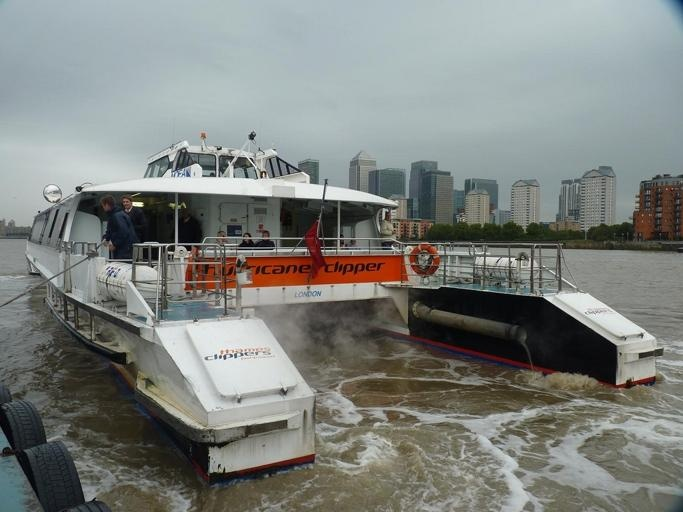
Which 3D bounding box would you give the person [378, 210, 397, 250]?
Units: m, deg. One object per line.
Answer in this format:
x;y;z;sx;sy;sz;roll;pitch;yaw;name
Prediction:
1.198;-0.685;16.131;0.344;1.023;0.433;-1;7;-30;person

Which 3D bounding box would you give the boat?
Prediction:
-2.385;0.459;13.982;7.729;3.498;11.139;0;4;-31;boat

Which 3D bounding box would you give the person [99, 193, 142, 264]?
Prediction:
-4.111;-0.540;11.541;0.614;1.205;1.101;-4;9;-22;person
